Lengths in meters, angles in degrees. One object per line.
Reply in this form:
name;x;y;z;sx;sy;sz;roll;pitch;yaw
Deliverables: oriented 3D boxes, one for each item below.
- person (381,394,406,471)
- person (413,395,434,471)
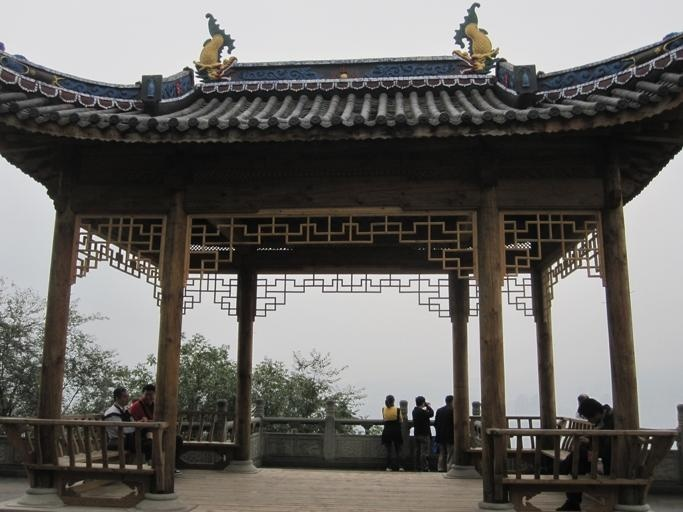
person;0.967;3.338;16.850;0.409;1.354;0.659;2;-13;4
person;1.518;3.371;16.958;0.382;1.345;0.822;2;-13;5
